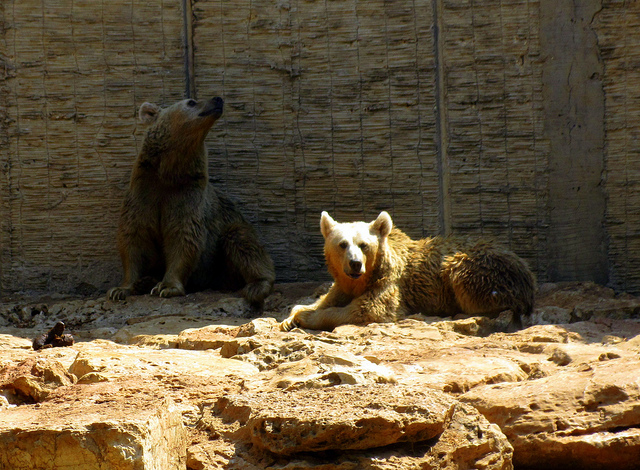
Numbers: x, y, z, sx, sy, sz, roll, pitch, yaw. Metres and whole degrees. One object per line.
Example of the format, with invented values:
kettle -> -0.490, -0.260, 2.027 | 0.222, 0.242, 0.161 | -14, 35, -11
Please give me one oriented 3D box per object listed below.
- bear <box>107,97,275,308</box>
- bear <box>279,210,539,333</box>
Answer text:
bear -> -1.620, -0.356, 18.626 | 1.843, 2.527, 1.016 | 0, -5, -7
bear -> 1.076, 0.492, 17.493 | 2.496, 1.093, 1.420 | 2, -6, -7
